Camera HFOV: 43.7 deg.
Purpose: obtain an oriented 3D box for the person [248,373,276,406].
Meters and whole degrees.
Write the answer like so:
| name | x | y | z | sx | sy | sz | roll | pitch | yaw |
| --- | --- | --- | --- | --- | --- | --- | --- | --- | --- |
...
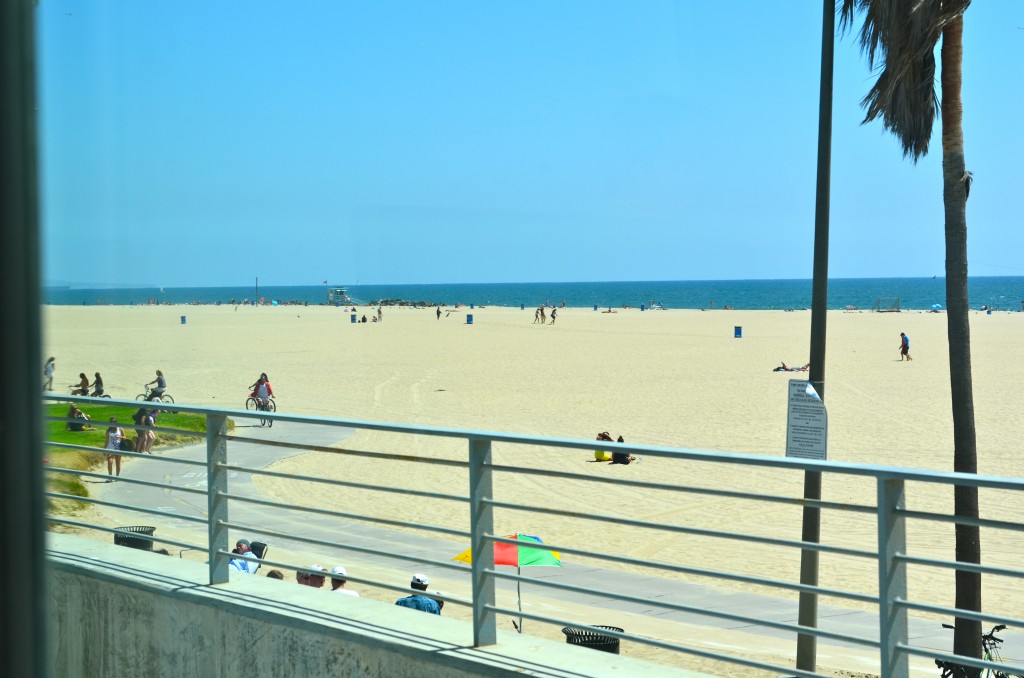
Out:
| name | x | y | z | sx | sy | sz | roll | pitch | yaw |
| --- | --- | --- | --- | --- | --- | --- | --- | --- | --- |
| person | -8.529 | 1.759 | 43.566 | 0.762 | 1.253 | 0.452 | 19 | 42 | 3 |

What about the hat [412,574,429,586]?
| name | x | y | z | sx | sy | sz | roll | pitch | yaw |
| --- | --- | --- | --- | --- | --- | --- | --- | --- | --- |
| hat | -1.224 | 3.243 | 17.175 | 0.180 | 0.143 | 0.152 | 18 | 3 | 36 |
